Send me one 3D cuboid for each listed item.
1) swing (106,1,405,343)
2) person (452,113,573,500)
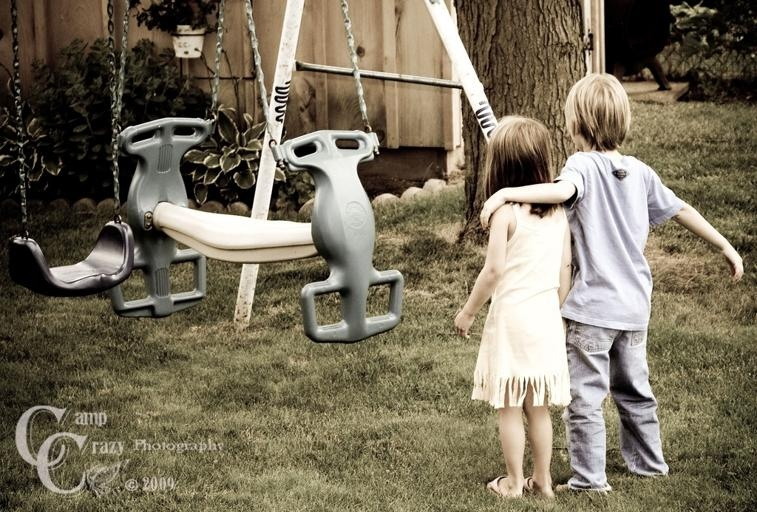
[{"bbox_3d":[-0.677,-0.348,5.635,1.693,1.734,0.599,5,11,35],"label":"swing"},{"bbox_3d":[0.720,0.269,5.504,0.617,1.993,0.417,-1,9,5],"label":"person"}]
